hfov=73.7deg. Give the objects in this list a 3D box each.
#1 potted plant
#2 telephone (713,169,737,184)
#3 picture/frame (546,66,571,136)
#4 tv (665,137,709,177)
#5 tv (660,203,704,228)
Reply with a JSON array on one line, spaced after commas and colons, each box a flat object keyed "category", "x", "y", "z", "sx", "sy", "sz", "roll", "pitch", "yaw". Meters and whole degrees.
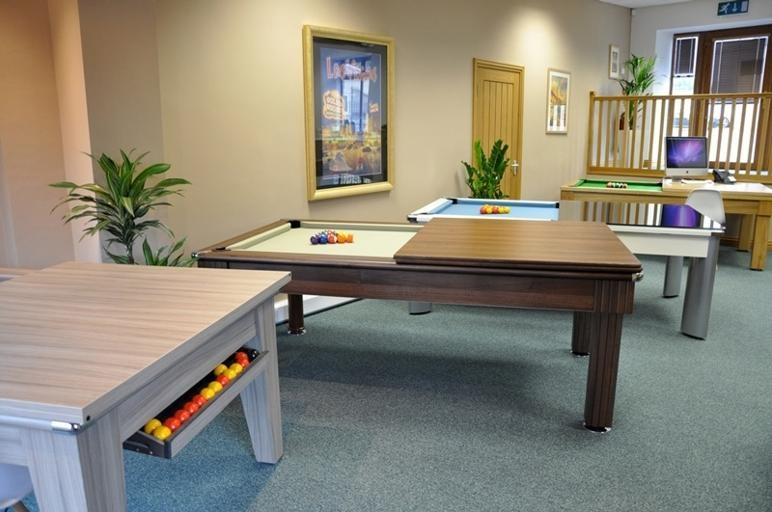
[{"category": "potted plant", "x": 3.965, "y": -2.604, "z": 8.265, "sx": 0.558, "sy": 1.311, "sz": 1.918, "roll": 6, "pitch": 18, "yaw": 26}, {"category": "telephone", "x": 4.264, "y": -1.031, "z": 6.544, "sx": 0.327, "sy": 0.154, "sz": 0.233, "roll": -20, "pitch": 22, "yaw": -30}, {"category": "picture/frame", "x": 2.623, "y": -2.344, "z": 7.873, "sx": 0.150, "sy": 0.944, "sz": 0.667, "roll": 11, "pitch": 21, "yaw": 38}, {"category": "tv", "x": 3.895, "y": -1.303, "z": 6.691, "sx": 0.515, "sy": 0.484, "sz": 0.179, "roll": 1, "pitch": 6, "yaw": 17}, {"category": "tv", "x": 2.609, "y": -0.364, "z": 4.540, "sx": 0.354, "sy": 0.188, "sz": 0.193, "roll": 3, "pitch": 12, "yaw": 14}]
